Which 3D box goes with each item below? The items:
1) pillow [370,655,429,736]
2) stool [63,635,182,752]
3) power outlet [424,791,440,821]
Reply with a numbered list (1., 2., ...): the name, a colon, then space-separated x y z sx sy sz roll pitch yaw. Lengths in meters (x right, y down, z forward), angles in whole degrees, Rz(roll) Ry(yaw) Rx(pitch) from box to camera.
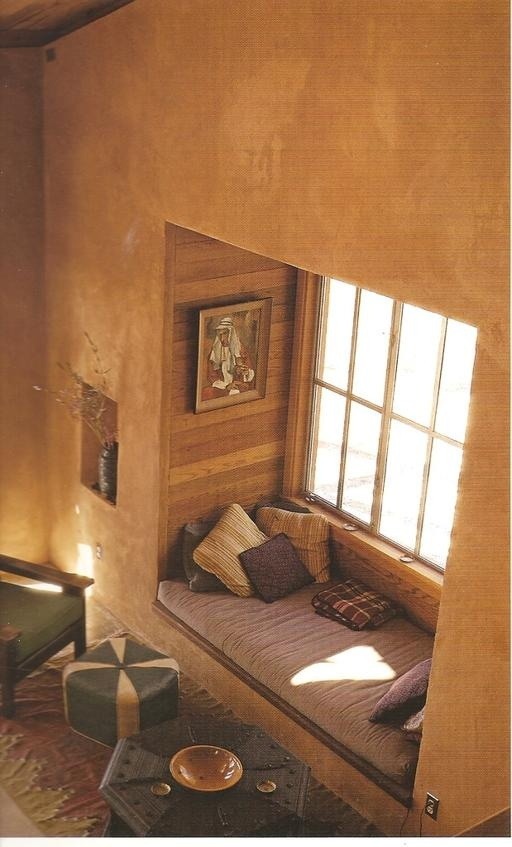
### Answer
1. pillow: 0.437 0.799 2.193 0.048 0.181 0.184 23 -9 -6
2. stool: -0.485 0.952 2.687 0.353 0.211 0.369 -12 22 -43
3. power outlet: 0.448 0.979 1.926 0.017 0.073 0.048 3 7 -29
